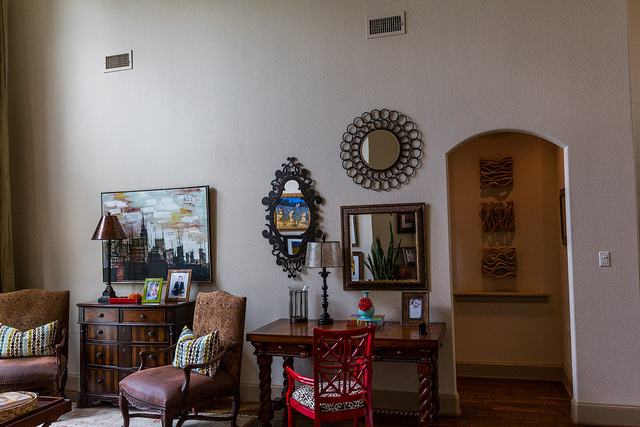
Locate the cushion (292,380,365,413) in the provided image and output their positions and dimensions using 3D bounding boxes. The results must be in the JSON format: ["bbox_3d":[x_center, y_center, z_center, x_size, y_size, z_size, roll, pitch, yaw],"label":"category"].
[{"bbox_3d":[0.070,1.753,4.880,0.369,0.097,0.399,3,-7,-27],"label":"cushion"}]

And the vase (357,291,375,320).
[{"bbox_3d":[0.524,1.021,5.804,0.157,0.296,0.293,-1,-4,10],"label":"vase"}]

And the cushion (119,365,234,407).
[{"bbox_3d":[-1.562,1.818,5.460,1.143,0.294,0.582,-2,-5,14],"label":"cushion"}]

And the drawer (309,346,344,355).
[{"bbox_3d":[0.095,1.418,5.324,0.293,0.071,0.274,1,-4,-3],"label":"drawer"}]

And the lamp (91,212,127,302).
[{"bbox_3d":[-2.686,0.548,6.525,0.408,1.111,0.378,-1,-4,5],"label":"lamp"}]

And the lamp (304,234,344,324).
[{"bbox_3d":[0.045,0.783,5.945,0.433,0.930,0.349,-1,-4,-2],"label":"lamp"}]

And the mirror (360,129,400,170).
[{"bbox_3d":[0.720,-0.751,6.033,0.433,0.461,0.061,5,-2,17],"label":"mirror"}]

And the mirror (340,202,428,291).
[{"bbox_3d":[0.789,0.386,5.971,0.994,1.024,0.078,-1,-2,12],"label":"mirror"}]

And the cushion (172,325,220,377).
[{"bbox_3d":[-1.369,1.518,5.700,0.639,0.483,0.252,1,-4,36],"label":"cushion"}]

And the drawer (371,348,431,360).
[{"bbox_3d":[0.827,1.424,5.247,0.576,0.112,0.045,-2,-4,10],"label":"drawer"}]

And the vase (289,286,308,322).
[{"bbox_3d":[-0.252,1.045,6.004,0.215,0.401,0.269,-1,-4,-2],"label":"vase"}]

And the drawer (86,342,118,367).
[{"bbox_3d":[-2.646,1.709,6.249,0.459,0.269,0.053,-2,-4,20],"label":"drawer"}]

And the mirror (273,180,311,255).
[{"bbox_3d":[-0.319,0.012,6.252,0.559,1.174,0.067,-3,-16,1],"label":"mirror"}]

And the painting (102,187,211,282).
[{"bbox_3d":[-2.035,0.283,6.569,1.193,0.993,0.042,-1,1,15],"label":"painting"}]

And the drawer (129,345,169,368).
[{"bbox_3d":[-2.032,1.705,6.206,0.476,0.267,0.297,-2,-2,11],"label":"drawer"}]

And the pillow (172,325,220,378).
[{"bbox_3d":[-1.380,1.523,5.708,0.659,0.492,0.258,0,-7,36],"label":"pillow"}]
